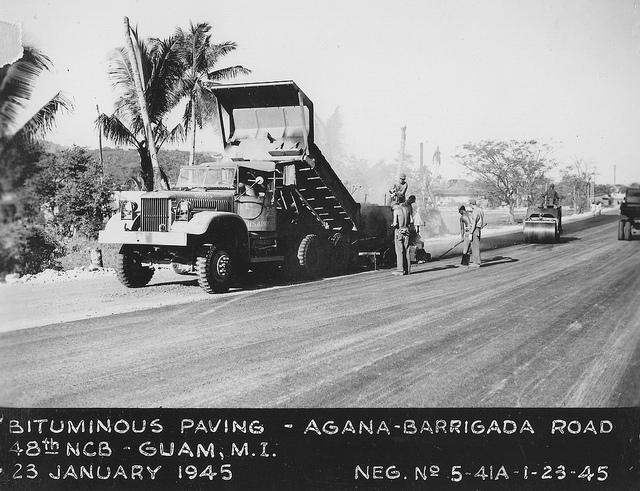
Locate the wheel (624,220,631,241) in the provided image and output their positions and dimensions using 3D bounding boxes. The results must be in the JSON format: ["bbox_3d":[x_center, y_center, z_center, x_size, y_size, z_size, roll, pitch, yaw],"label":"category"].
[{"bbox_3d":[12.870,-0.696,23.608,0.237,0.822,0.336,4,9,33],"label":"wheel"}]

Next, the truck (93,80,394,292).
[{"bbox_3d":[-1.139,-1.543,14.600,3.147,5.237,8.538,4,5,35],"label":"truck"}]

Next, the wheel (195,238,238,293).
[{"bbox_3d":[-1.919,0.336,11.711,0.879,1.115,0.389,1,17,3],"label":"wheel"}]

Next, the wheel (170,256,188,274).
[{"bbox_3d":[-3.052,0.380,12.250,0.284,0.485,0.434,3,-26,-17],"label":"wheel"}]

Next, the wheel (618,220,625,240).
[{"bbox_3d":[12.709,-0.684,23.769,0.213,0.843,0.731,3,0,23],"label":"wheel"}]

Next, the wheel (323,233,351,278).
[{"bbox_3d":[0.415,0.233,14.901,0.253,0.921,0.811,-1,-15,21],"label":"wheel"}]

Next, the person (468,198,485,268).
[{"bbox_3d":[4.400,-0.400,15.989,0.374,1.940,1.154,2,8,16],"label":"person"}]

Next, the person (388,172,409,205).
[{"bbox_3d":[2.134,-1.413,15.613,0.421,1.334,0.448,-2,40,-6],"label":"person"}]
